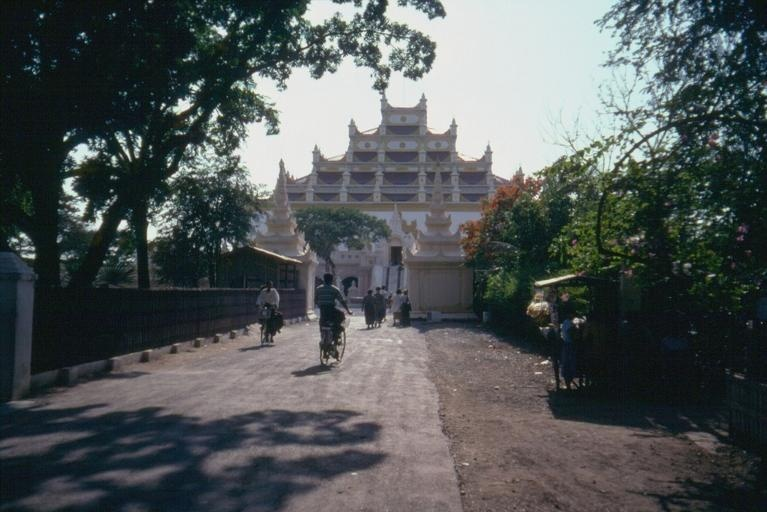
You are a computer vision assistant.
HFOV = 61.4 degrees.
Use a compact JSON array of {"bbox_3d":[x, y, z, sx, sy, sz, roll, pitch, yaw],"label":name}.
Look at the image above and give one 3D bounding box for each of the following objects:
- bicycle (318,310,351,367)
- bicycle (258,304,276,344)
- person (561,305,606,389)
[{"bbox_3d":[-1.359,2.180,16.256,0.565,0.855,1.392,1,3,10],"label":"bicycle"},{"bbox_3d":[-3.813,2.225,21.216,0.398,1.296,0.764,1,4,-2],"label":"bicycle"},{"bbox_3d":[3.937,1.942,13.232,0.880,1.658,0.845,1,4,-10],"label":"person"}]
